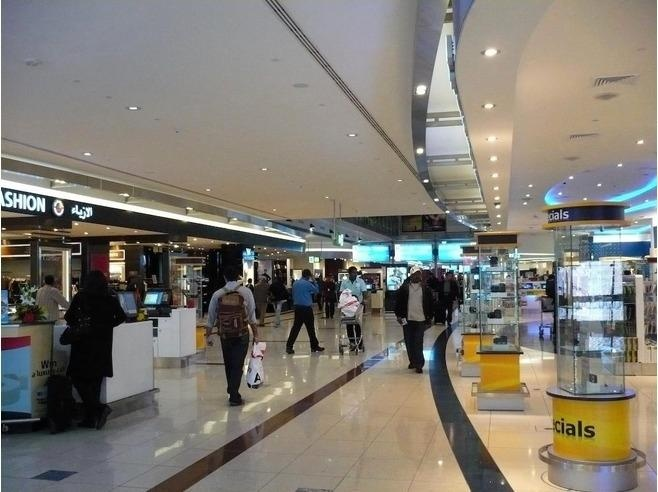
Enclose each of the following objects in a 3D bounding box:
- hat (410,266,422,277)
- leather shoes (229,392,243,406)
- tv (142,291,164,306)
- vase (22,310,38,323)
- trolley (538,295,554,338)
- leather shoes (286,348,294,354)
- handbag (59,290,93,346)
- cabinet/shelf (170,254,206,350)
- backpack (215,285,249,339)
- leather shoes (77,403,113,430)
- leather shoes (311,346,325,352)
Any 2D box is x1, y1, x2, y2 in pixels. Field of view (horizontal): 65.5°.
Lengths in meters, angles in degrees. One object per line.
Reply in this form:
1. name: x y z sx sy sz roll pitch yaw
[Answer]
1. hat: 1.531 0.438 9.130 0.171 0.072 0.176 -18 4 -32
2. leather shoes: -1.278 2.095 7.062 0.196 0.161 0.158 0 -4 -13
3. tv: -3.407 0.985 9.914 0.501 0.294 0.201 -4 -5 32
4. vase: -3.691 0.863 6.287 0.134 0.133 0.136 -5 5 -28
5. trolley: 6.832 2.129 15.948 0.569 1.049 0.626 -3 -11 19
6. leather shoes: -0.834 2.287 11.280 0.159 0.115 0.277 -3 -4 26
7. handbag: -3.027 0.858 6.168 0.352 0.605 0.244 8 -5 40
8. cabinet/shelf: -5.355 2.287 19.767 1.140 3.556 1.193 6 -29 -29
9. backpack: -1.360 0.912 7.099 0.458 0.652 0.367 -4 14 -12
10. leather shoes: -2.800 2.070 6.257 0.496 0.229 0.178 -10 -5 -28
11. leather shoes: -0.252 2.289 11.457 0.319 0.151 0.108 -7 0 0
